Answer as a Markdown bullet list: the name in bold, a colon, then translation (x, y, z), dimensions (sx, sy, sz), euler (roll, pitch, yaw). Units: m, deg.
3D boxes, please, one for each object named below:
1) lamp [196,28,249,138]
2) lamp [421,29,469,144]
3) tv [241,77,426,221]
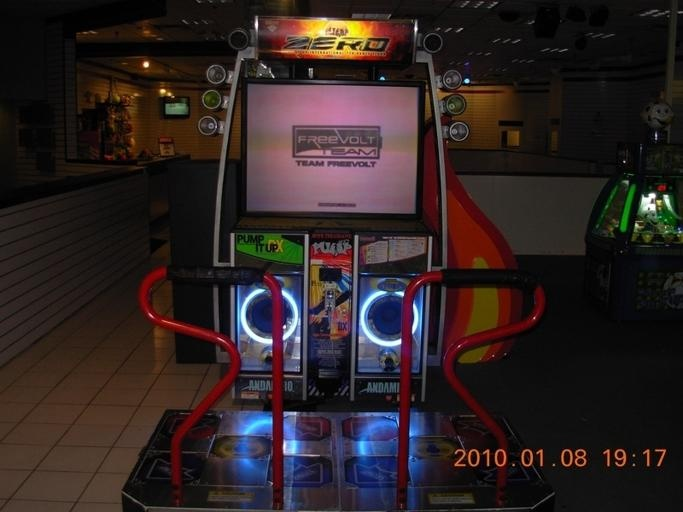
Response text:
- **lamp**: translation (-0.894, -1.212, 4.098), dimensions (0.235, 1.110, 0.234), euler (9, 6, -8)
- **lamp**: translation (0.816, -1.344, 4.328), dimensions (0.404, 0.885, 0.873), euler (3, 9, 12)
- **tv**: translation (-0.095, -0.830, 4.114), dimensions (1.073, 0.761, 0.147), euler (0, 7, -1)
